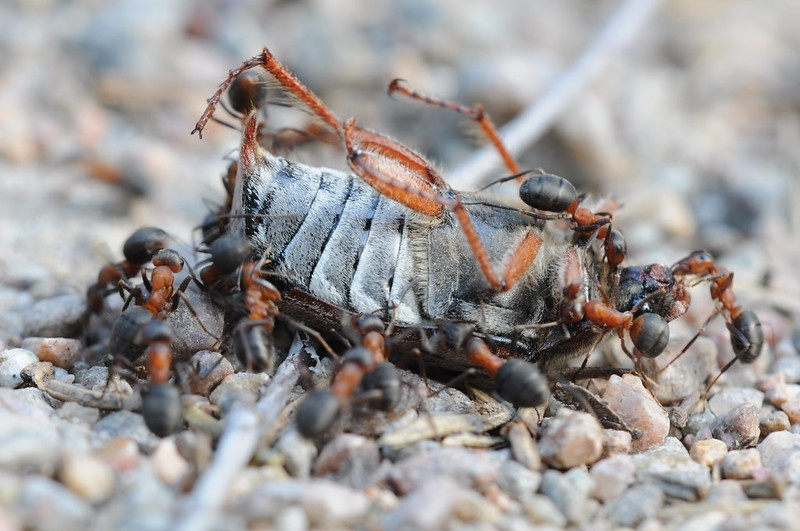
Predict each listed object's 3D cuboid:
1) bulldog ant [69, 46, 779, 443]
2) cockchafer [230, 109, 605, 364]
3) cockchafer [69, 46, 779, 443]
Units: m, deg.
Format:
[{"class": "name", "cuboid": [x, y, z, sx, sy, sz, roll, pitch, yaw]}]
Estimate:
[{"class": "bulldog ant", "cuboid": [0.305, 0.081, 5.771, 4.000, 2.990, 1.210, 17, -11, 0]}, {"class": "cockchafer", "cuboid": [0.137, -0.109, 5.766, 2.440, 1.726, 0.739, 26, -31, -6]}, {"class": "cockchafer", "cuboid": [0.162, 0.094, 6.028, 4.001, 2.990, 1.210, 17, -11, 0]}]
